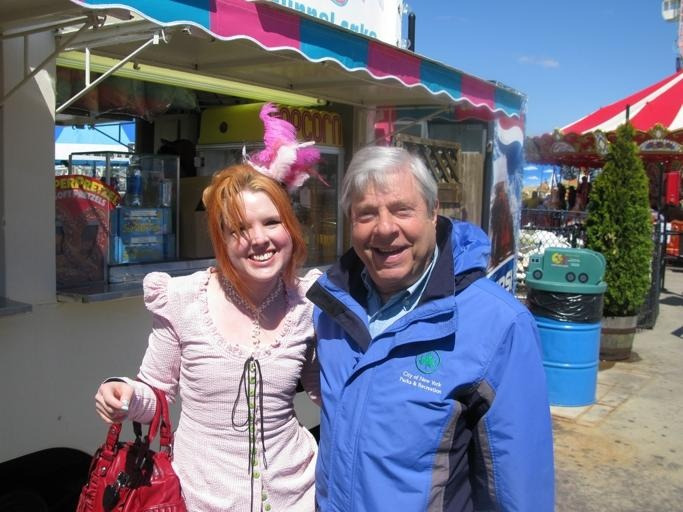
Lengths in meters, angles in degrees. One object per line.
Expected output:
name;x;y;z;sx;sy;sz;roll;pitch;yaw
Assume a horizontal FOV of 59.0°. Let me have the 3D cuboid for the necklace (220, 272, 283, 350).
necklace;-0.393;0.249;2.683;0.200;0.349;0.075;3;-7;-16
